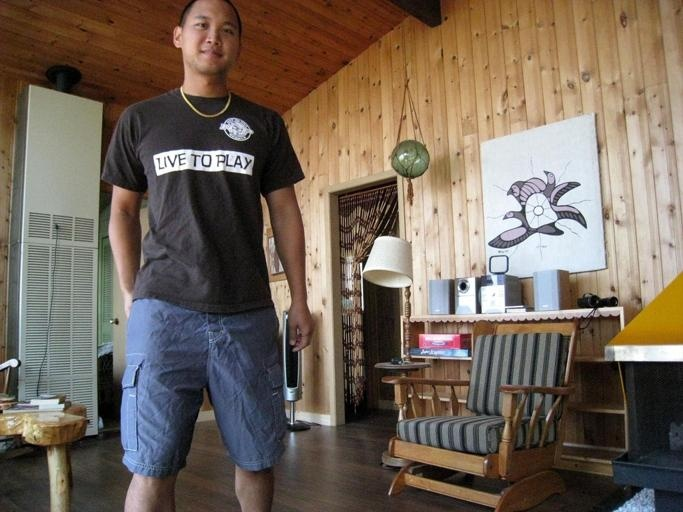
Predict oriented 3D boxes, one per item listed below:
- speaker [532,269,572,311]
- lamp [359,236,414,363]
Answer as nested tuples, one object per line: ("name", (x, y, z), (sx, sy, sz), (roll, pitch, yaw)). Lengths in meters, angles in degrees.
("speaker", (1.570, 0.260, 4.152), (0.262, 0.309, 0.273), (3, -13, -10))
("lamp", (0.412, 0.318, 4.240), (0.368, 0.779, 0.295), (10, -34, -33))
